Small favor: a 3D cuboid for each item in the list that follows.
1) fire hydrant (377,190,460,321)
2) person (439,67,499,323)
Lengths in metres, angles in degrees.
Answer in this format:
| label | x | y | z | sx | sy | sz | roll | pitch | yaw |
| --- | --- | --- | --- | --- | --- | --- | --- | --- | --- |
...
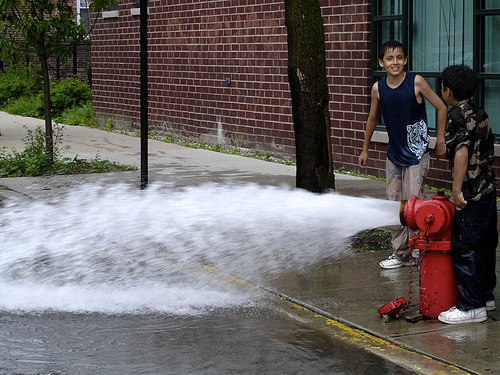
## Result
| label | x | y | z | sx | sy | sz | roll | pitch | yaw |
| --- | --- | --- | --- | --- | --- | --- | --- | --- | --- |
| fire hydrant | 1.344 | 0.527 | 4.070 | 0.644 | 0.930 | 0.623 | -3 | -1 | 29 |
| person | 1.638 | 0.067 | 3.782 | 0.460 | 1.850 | 0.389 | 1 | 10 | 4 |
